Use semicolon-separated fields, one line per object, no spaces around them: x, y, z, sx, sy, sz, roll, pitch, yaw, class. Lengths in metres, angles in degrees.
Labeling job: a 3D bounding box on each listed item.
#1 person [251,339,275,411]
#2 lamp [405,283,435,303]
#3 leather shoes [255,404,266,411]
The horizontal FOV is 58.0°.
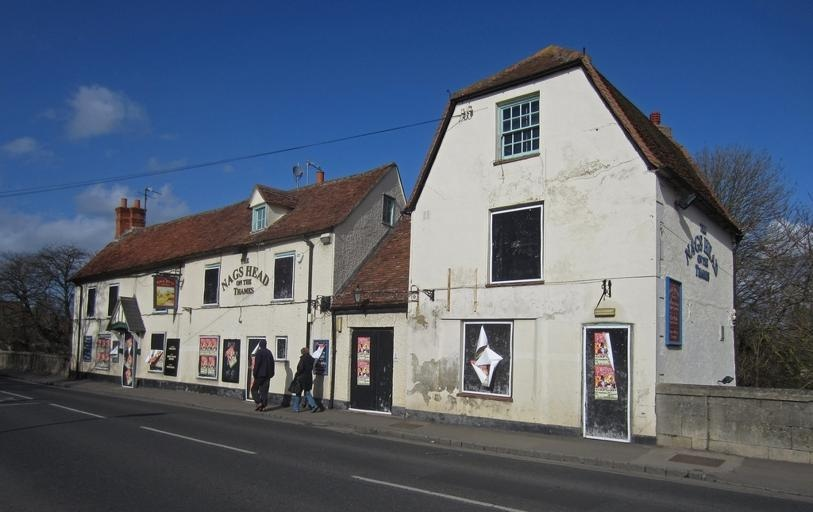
-5.937;5.015;30.519;0.846;2.893;1.219;0;5;-12;person
0.632;1.488;28.972;0.806;0.548;0.628;4;-8;-17;lamp
-5.944;6.272;30.133;0.512;0.237;0.189;-7;-16;34;leather shoes
